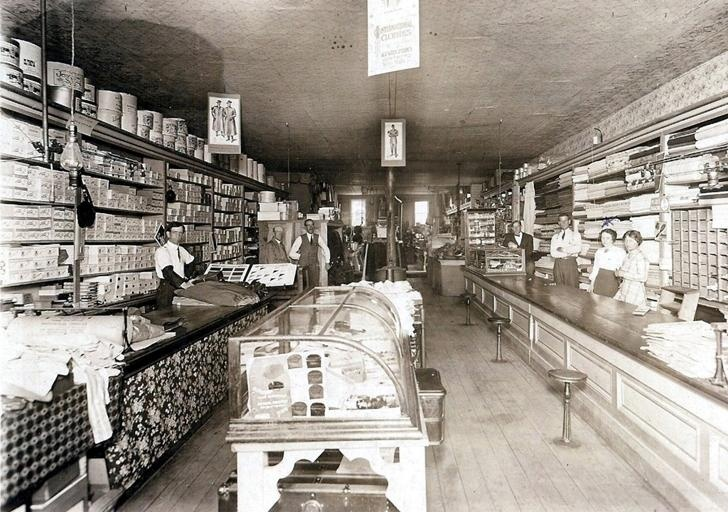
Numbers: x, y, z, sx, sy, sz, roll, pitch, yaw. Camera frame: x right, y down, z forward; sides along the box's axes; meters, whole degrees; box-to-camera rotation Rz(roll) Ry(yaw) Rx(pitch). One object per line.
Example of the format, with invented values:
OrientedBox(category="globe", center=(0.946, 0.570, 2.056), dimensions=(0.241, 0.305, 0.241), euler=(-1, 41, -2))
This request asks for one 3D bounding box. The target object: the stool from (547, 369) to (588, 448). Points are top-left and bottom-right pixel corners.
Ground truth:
OrientedBox(category="stool", center=(2.058, 1.426, 5.404), dimensions=(0.333, 0.652, 0.887), euler=(1, 5, 23))

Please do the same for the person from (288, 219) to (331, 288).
OrientedBox(category="person", center=(-1.096, 0.097, 10.682), dimensions=(0.797, 1.676, 0.391), euler=(-2, 27, -7))
